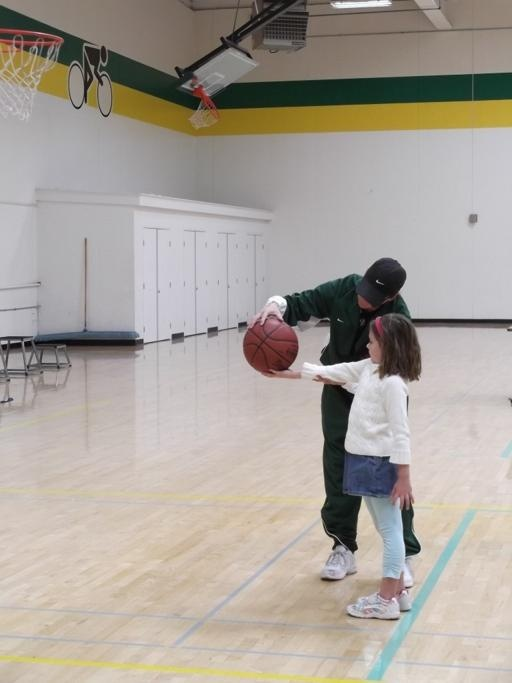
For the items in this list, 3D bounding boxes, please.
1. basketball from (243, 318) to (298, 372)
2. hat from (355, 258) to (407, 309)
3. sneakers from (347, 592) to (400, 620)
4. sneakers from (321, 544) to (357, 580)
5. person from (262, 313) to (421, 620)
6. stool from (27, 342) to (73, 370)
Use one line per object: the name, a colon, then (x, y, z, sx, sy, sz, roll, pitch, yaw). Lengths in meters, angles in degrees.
basketball: (0.053, 0.022, 2.211, 0.222, 0.221, 0.216, 3, -15, -39)
hat: (0.455, -0.220, 2.045, 0.168, 0.195, 0.218, -2, -2, 10)
sneakers: (0.410, 0.922, 1.959, 0.197, 0.092, 0.077, 1, -2, 9)
sneakers: (0.355, 0.962, 2.417, 0.077, 0.104, 0.218, -1, -5, 19)
person: (0.422, 0.447, 1.944, 0.356, 1.059, 0.486, 0, -2, -40)
stool: (-4.268, 0.377, 11.416, 0.949, 0.466, 0.746, 0, -4, 1)
